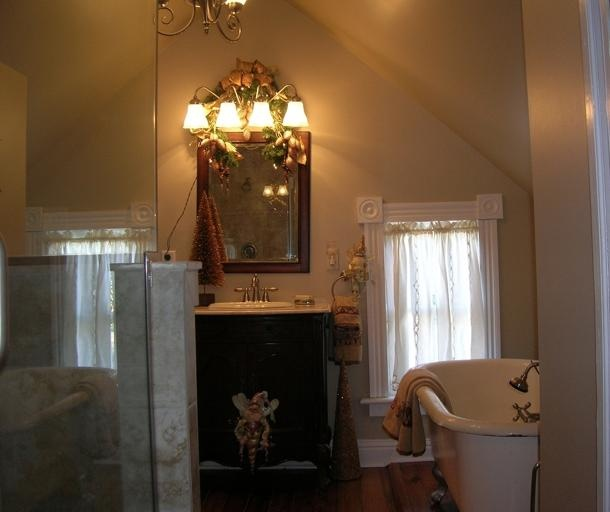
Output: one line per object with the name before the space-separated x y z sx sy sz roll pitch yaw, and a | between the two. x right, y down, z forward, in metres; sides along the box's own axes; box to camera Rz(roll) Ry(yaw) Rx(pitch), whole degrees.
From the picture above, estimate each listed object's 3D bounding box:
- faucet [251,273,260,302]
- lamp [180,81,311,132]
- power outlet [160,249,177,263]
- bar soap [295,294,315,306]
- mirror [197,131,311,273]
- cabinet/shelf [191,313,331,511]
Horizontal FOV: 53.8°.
faucet | -0.288 0.188 3.635 0.051 0.163 0.160 -1 -2 -5
lamp | -0.355 -0.885 3.758 0.960 0.397 0.315 2 9 1
power outlet | -0.644 -0.002 2.860 0.071 0.047 0.074 -2 16 -22
bar soap | -0.001 0.257 3.501 0.115 0.051 0.101 -1 -2 -5
mirror | -0.305 -0.325 3.692 0.705 0.974 0.024 5 31 12
cabinet/shelf | -0.208 0.742 3.508 0.985 1.160 0.676 -1 -5 -2
